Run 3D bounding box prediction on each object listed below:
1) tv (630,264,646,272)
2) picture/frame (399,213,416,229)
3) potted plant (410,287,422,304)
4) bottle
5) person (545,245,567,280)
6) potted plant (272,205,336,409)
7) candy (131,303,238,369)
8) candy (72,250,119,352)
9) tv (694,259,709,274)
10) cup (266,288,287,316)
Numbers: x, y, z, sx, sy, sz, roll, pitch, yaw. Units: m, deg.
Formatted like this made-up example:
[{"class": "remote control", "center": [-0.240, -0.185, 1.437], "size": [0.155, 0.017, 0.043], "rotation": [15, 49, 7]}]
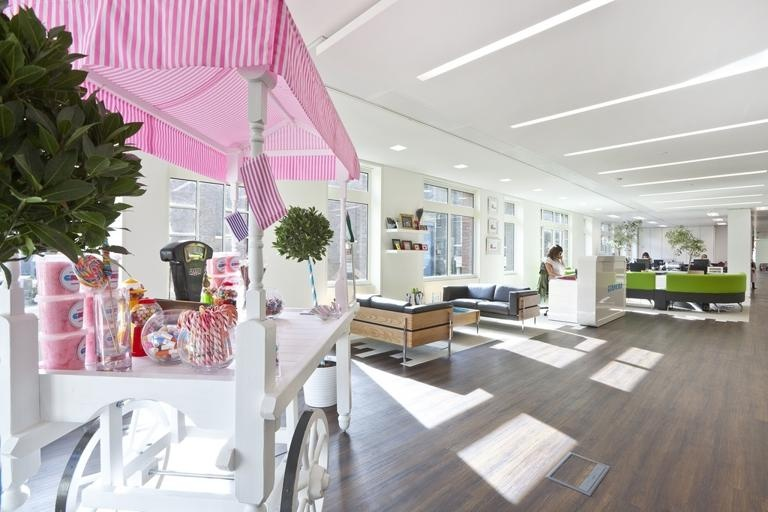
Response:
[{"class": "tv", "center": [6.582, 0.281, 12.608], "size": [0.367, 0.251, 0.766], "rotation": [-1, 0, 26]}, {"class": "picture/frame", "center": [0.485, -0.675, 9.524], "size": [0.203, 0.261, 0.537], "rotation": [-1, 0, 40]}, {"class": "potted plant", "center": [0.498, 0.603, 7.343], "size": [0.263, 0.257, 0.142], "rotation": [-5, 7, -44]}, {"class": "bottle", "center": [-1.088, 0.366, 2.467], "size": [0.606, 0.255, 0.351], "rotation": [4, -1, 5]}, {"class": "person", "center": [3.308, 0.115, 9.395], "size": [0.317, 0.641, 1.179], "rotation": [-1, 0, 20]}, {"class": "potted plant", "center": [-0.546, 0.159, 3.871], "size": [0.364, 1.042, 0.352], "rotation": [-12, 18, -10]}, {"class": "candy", "center": [-0.970, 0.408, 2.391], "size": [0.300, 0.192, 0.392], "rotation": [0, 4, -37]}, {"class": "candy", "center": [-1.403, 0.235, 2.410], "size": [0.144, 0.489, 0.242], "rotation": [-1, 0, -3]}, {"class": "tv", "center": [8.498, 0.293, 13.001], "size": [0.249, 0.333, 0.359], "rotation": [2, -1, 25]}, {"class": "cup", "center": [-0.794, 0.333, 3.527], "size": [0.199, 0.169, 0.211], "rotation": [0, -2, 0]}]
